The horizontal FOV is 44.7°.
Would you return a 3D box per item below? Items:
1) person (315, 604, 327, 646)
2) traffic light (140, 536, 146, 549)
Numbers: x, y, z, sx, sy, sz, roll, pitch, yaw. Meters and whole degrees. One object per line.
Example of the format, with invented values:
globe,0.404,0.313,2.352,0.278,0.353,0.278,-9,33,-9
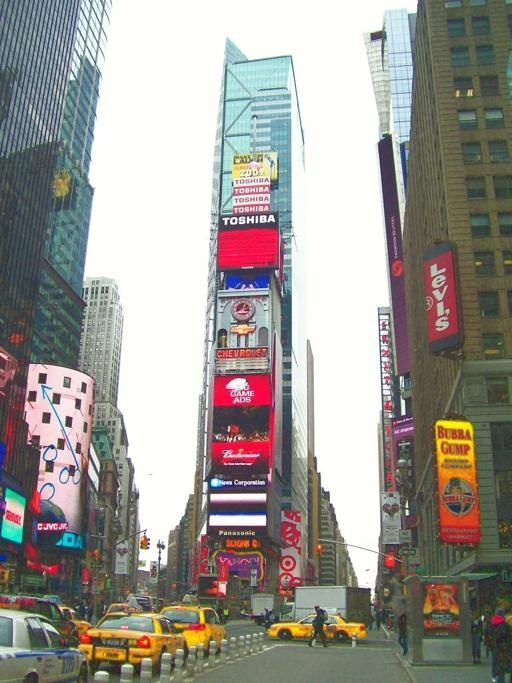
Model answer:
person,3.006,13.612,29.824,0.645,1.759,2.409,-1,-22,6
traffic light,-9.167,16.445,51.119,0.479,1.041,2.484,3,-23,-8
